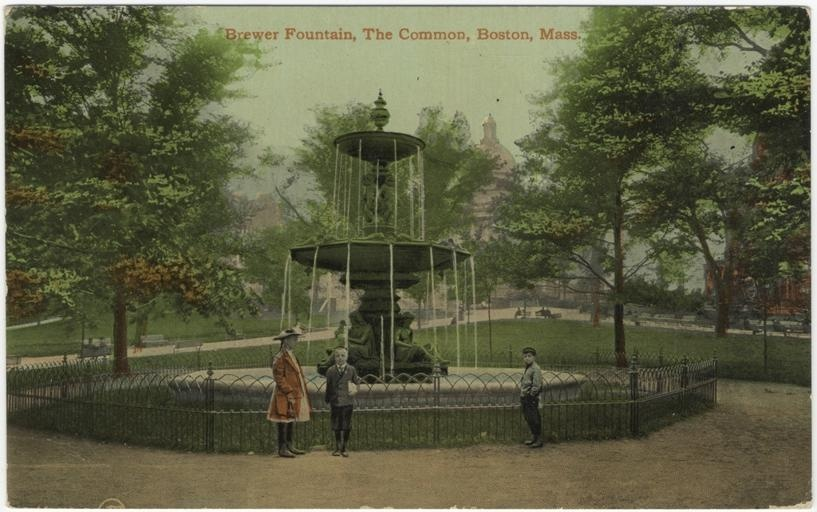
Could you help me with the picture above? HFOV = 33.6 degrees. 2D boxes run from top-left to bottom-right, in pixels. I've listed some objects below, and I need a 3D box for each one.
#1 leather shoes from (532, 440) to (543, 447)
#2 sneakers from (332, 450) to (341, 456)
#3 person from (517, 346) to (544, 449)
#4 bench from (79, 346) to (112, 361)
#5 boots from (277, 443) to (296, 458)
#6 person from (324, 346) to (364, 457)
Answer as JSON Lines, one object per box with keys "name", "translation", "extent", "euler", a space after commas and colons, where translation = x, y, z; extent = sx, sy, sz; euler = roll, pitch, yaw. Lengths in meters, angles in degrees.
{"name": "leather shoes", "translation": [4.600, 6.728, 48.428], "extent": [0.317, 0.255, 0.095], "euler": [1, -5, -15]}
{"name": "sneakers", "translation": [-2.554, 7.010, 47.883], "extent": [0.307, 0.261, 0.151], "euler": [2, -15, 3]}
{"name": "person", "translation": [4.418, 5.122, 48.926], "extent": [0.792, 3.549, 0.868], "euler": [-1, -5, 4]}
{"name": "bench", "translation": [-14.390, 4.466, 62.061], "extent": [1.247, 0.369, 0.903], "euler": [-2, -6, 8]}
{"name": "boots", "translation": [-4.219, 6.944, 47.789], "extent": [0.825, 0.454, 0.293], "euler": [0, -3, 8]}
{"name": "person", "translation": [-2.381, 5.211, 48.085], "extent": [1.141, 3.831, 0.816], "euler": [-1, -5, -3]}
